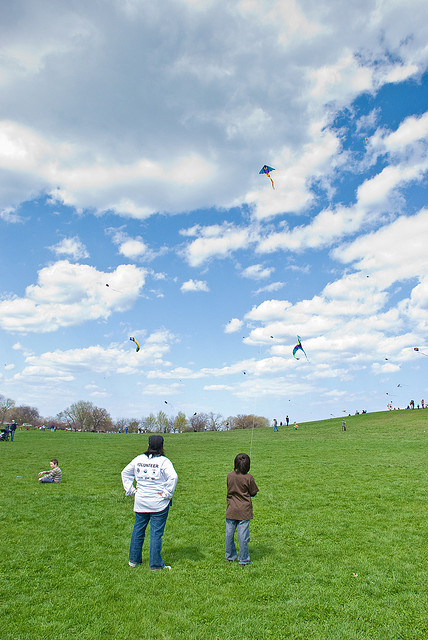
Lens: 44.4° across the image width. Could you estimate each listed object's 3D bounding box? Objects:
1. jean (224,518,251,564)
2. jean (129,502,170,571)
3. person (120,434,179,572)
[{"bbox_3d":[0.461,4.437,10.604,0.489,0.886,0.690,0,-11,1],"label":"jean"},{"bbox_3d":[-1.275,3.966,10.190,0.669,1.788,0.494,7,15,3],"label":"jean"},{"bbox_3d":[-1.232,3.529,10.148,1.141,2.534,0.669,-3,-10,14],"label":"person"}]
